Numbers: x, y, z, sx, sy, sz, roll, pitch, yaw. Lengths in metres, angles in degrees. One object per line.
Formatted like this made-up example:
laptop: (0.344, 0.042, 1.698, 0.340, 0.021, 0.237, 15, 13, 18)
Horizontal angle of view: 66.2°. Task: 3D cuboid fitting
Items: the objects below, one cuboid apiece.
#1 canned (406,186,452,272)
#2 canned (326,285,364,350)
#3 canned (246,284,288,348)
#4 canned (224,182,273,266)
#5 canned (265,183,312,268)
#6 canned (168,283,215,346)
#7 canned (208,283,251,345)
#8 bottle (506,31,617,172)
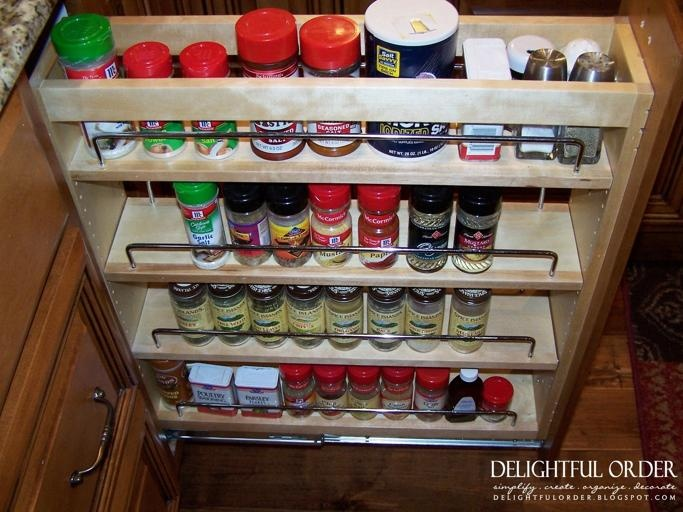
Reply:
canned: (0.175, -0.052, 1.109, 0.100, 0.160, 0.096, 10, 18, 22)
canned: (0.008, 0.144, 1.266, 0.096, 0.146, 0.090, 1, 22, 6)
canned: (-0.178, 0.148, 1.266, 0.097, 0.148, 0.091, 2, 16, 12)
canned: (-0.198, -0.060, 1.106, 0.088, 0.142, 0.083, -16, 29, -23)
canned: (-0.109, -0.068, 1.070, 0.118, 0.183, 0.109, -9, 44, -8)
canned: (-0.356, 0.148, 1.271, 0.088, 0.138, 0.088, 11, 26, 42)
canned: (-0.268, 0.141, 1.270, 0.095, 0.146, 0.091, 5, 26, 23)
bottle: (0.394, -0.290, 0.965, 0.186, 0.158, 0.247, 6, 47, 7)
